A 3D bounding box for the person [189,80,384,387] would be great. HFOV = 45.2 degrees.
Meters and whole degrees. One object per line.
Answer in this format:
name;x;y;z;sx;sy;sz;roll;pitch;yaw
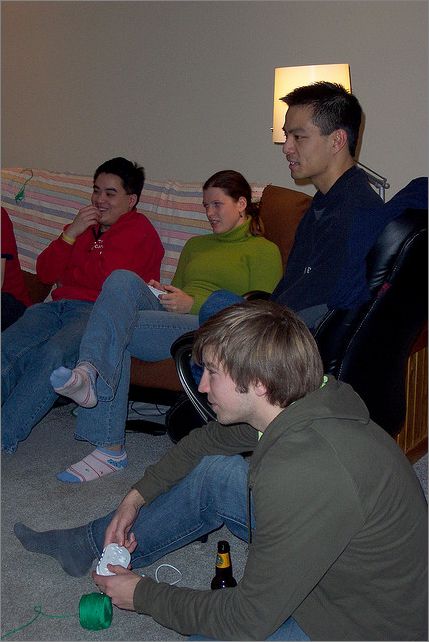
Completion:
person;0.255;-0.331;1.928;0.688;0.957;0.682;-5;12;-26
